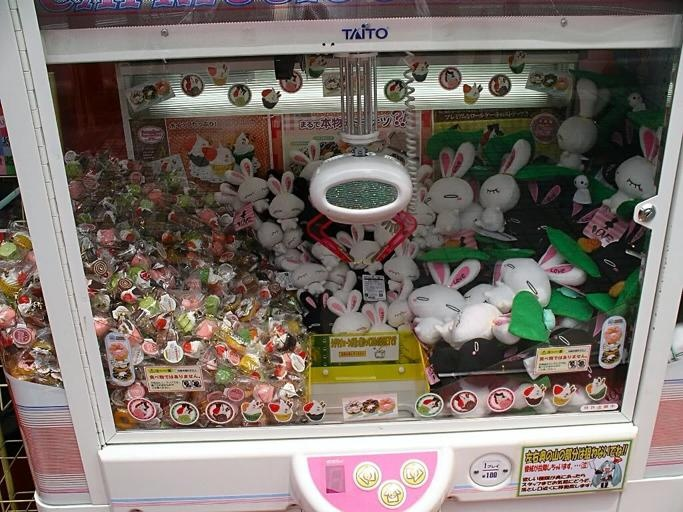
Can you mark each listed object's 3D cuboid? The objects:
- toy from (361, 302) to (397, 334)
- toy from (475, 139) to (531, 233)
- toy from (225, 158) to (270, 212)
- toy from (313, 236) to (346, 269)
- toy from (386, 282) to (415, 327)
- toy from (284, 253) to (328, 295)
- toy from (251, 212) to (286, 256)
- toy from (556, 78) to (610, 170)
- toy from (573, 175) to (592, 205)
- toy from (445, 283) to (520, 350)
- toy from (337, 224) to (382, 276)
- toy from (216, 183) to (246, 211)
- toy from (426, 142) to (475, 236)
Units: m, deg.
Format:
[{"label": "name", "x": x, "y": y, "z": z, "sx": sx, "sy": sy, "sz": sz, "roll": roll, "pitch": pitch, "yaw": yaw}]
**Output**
[{"label": "toy", "x": 0.098, "y": 0.173, "z": 1.438, "sx": 0.064, "sy": 0.079, "sz": 0.085, "roll": -15, "pitch": -4, "yaw": -16}, {"label": "toy", "x": 0.466, "y": -0.207, "z": 1.521, "sx": 0.111, "sy": 0.277, "sz": 0.101, "roll": 22, "pitch": 19, "yaw": 15}, {"label": "toy", "x": -0.286, "y": -0.223, "z": 1.503, "sx": 0.105, "sy": 0.118, "sz": 0.068, "roll": -36, "pitch": 40, "yaw": -6}, {"label": "toy", "x": -0.049, "y": -0.011, "z": 1.556, "sx": 0.086, "sy": 0.040, "sz": 0.076, "roll": 40, "pitch": 1, "yaw": 27}, {"label": "toy", "x": 0.169, "y": 0.138, "z": 1.450, "sx": 0.077, "sy": 0.115, "sz": 0.059, "roll": 11, "pitch": -3, "yaw": -17}, {"label": "toy", "x": -0.113, "y": 0.046, "z": 1.512, "sx": 0.096, "sy": 0.072, "sz": 0.100, "roll": -15, "pitch": 47, "yaw": -8}, {"label": "toy", "x": -0.216, "y": -0.072, "z": 1.594, "sx": 0.076, "sy": 0.126, "sz": 0.046, "roll": -34, "pitch": 10, "yaw": 19}, {"label": "toy", "x": 0.650, "y": -0.354, "z": 1.350, "sx": 0.083, "sy": 0.229, "sz": 0.112, "roll": -3, "pitch": 1, "yaw": -15}, {"label": "toy", "x": 0.667, "y": -0.188, "z": 1.386, "sx": 0.051, "sy": 0.079, "sz": 0.065, "roll": -20, "pitch": 21, "yaw": -28}, {"label": "toy", "x": 0.376, "y": 0.157, "z": 1.361, "sx": 0.197, "sy": 0.159, "sz": 0.150, "roll": -2, "pitch": 1, "yaw": 17}, {"label": "toy", "x": 0.054, "y": -0.021, "z": 1.508, "sx": 0.112, "sy": 0.140, "sz": 0.063, "roll": -3, "pitch": 2, "yaw": -28}, {"label": "toy", "x": -0.341, "y": -0.182, "z": 1.507, "sx": 0.078, "sy": 0.069, "sz": 0.029, "roll": 2, "pitch": 2, "yaw": -23}, {"label": "toy", "x": 0.322, "y": -0.198, "z": 1.471, "sx": 0.140, "sy": 0.250, "sz": 0.064, "roll": -2, "pitch": 1, "yaw": 11}]
